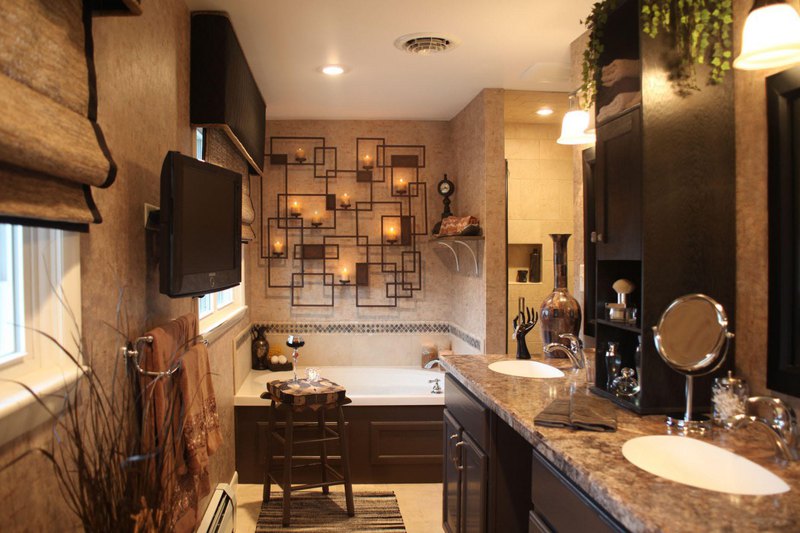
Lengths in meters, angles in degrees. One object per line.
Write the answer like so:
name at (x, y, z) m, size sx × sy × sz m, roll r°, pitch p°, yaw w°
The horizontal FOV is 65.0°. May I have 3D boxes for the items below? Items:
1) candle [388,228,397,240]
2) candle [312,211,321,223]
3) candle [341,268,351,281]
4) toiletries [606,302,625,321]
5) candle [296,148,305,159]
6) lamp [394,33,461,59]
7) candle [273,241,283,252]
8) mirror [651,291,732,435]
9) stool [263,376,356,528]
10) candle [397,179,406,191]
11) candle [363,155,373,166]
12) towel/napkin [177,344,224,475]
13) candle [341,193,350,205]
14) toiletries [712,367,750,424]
candle at (-0.068, -0.282, 5.496) m, size 0.094 × 0.113 × 0.096 m, roll 1°, pitch -2°, yaw -2°
candle at (-0.736, -0.431, 5.547) m, size 0.091 × 0.148 × 0.093 m, roll 1°, pitch -3°, yaw -13°
candle at (-0.486, 0.072, 5.499) m, size 0.096 × 0.161 × 0.098 m, roll -1°, pitch 2°, yaw -13°
toiletries at (0.974, 0.207, 2.869) m, size 0.067 × 0.084 × 0.086 m, roll 5°, pitch -6°, yaw -32°
candle at (-0.851, -0.966, 5.396) m, size 0.084 × 0.100 × 0.087 m, roll 2°, pitch 7°, yaw 18°
lamp at (0.148, -1.367, 3.857) m, size 0.375 × 0.085 × 0.276 m, roll -2°, pitch 13°, yaw 5°
candle at (-1.062, -0.169, 5.465) m, size 0.084 × 0.101 × 0.087 m, roll 1°, pitch -1°, yaw 0°
mirror at (1.181, 0.382, 2.503) m, size 0.263 × 0.529 × 0.217 m, roll -3°, pitch 13°, yaw -2°
stool at (-0.611, 1.195, 4.202) m, size 0.767 × 1.062 × 0.782 m, roll 3°, pitch -11°, yaw -24°
candle at (0.022, -0.723, 5.519) m, size 0.090 × 0.106 × 0.093 m, roll 1°, pitch -2°, yaw 6°
candle at (-0.277, -0.924, 5.467) m, size 0.084 × 0.086 × 0.087 m, roll 8°, pitch 9°, yaw 39°
towel/napkin at (-0.946, 0.669, 2.956) m, size 0.147 × 0.565 × 0.520 m, roll -6°, pitch 14°, yaw -15°
candle at (-0.482, -0.585, 5.462) m, size 0.086 × 0.101 × 0.088 m, roll 0°, pitch -3°, yaw -7°
toiletries at (1.335, 0.524, 2.532) m, size 0.129 × 0.211 × 0.133 m, roll 0°, pitch -3°, yaw 20°
